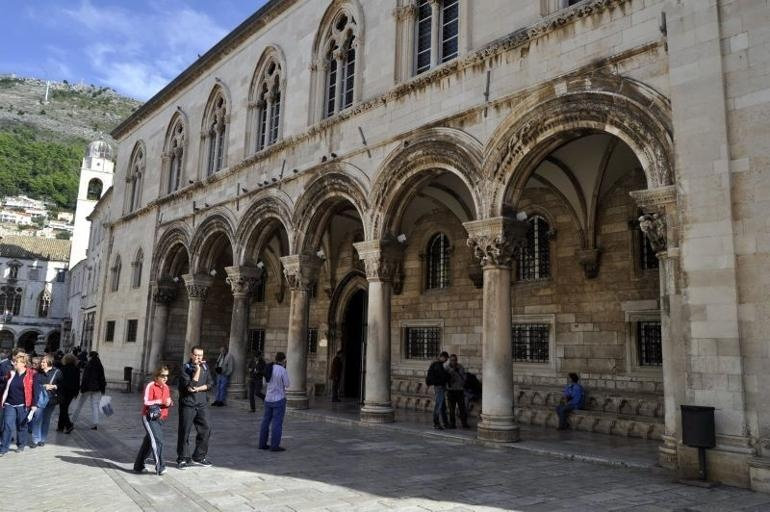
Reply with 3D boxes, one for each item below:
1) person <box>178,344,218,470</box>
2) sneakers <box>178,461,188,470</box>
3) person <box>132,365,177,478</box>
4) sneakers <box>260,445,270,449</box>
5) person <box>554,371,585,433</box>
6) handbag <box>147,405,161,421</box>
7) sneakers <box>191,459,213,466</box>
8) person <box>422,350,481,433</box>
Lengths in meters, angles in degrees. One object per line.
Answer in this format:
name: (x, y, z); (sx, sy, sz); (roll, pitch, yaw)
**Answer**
person: (-3.473, 2.755, 10.669); (0.581, 2.128, 0.433); (2, -5, -16)
sneakers: (-3.633, 3.766, 10.461); (0.136, 0.061, 0.103); (-11, -7, 24)
person: (-4.239, 2.929, 10.660); (0.597, 1.874, 1.513); (3, -6, -19)
sneakers: (-2.486, 3.965, 12.059); (0.197, 0.063, 0.112); (3, -6, -20)
person: (4.770, 3.734, 14.962); (0.739, 1.382, 0.451); (0, -5, 5)
handbag: (-3.962, 2.720, 10.149); (0.291, 0.241, 0.234); (4, -28, -5)
sneakers: (-3.345, 3.798, 10.658); (0.347, 0.143, 0.129); (1, -12, -2)
person: (1.610, 3.410, 14.829); (1.023, 1.876, 0.585); (5, -7, -39)
